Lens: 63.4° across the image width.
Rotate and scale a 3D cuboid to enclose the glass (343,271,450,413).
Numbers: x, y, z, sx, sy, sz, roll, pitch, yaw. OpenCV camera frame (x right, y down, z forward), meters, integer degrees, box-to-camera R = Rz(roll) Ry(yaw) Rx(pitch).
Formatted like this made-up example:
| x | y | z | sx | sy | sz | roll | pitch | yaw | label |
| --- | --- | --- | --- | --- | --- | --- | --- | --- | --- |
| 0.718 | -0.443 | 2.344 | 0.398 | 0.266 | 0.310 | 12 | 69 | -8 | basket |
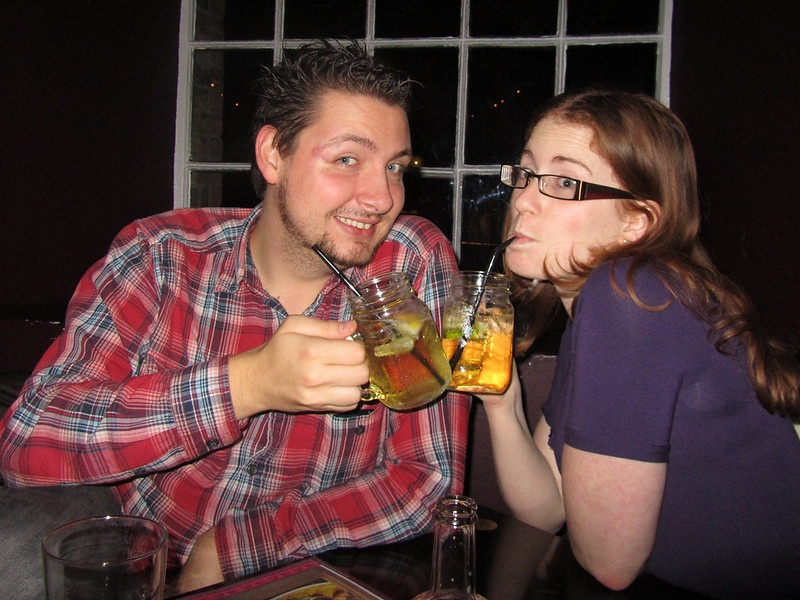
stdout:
| x | y | z | sx | sy | sz | roll | pitch | yaw | label |
| --- | --- | --- | --- | --- | --- | --- | --- | --- | --- |
| -0.002 | 0.116 | 1.789 | 0.241 | 0.361 | 0.386 | -19 | 5 | 4 | glass |
